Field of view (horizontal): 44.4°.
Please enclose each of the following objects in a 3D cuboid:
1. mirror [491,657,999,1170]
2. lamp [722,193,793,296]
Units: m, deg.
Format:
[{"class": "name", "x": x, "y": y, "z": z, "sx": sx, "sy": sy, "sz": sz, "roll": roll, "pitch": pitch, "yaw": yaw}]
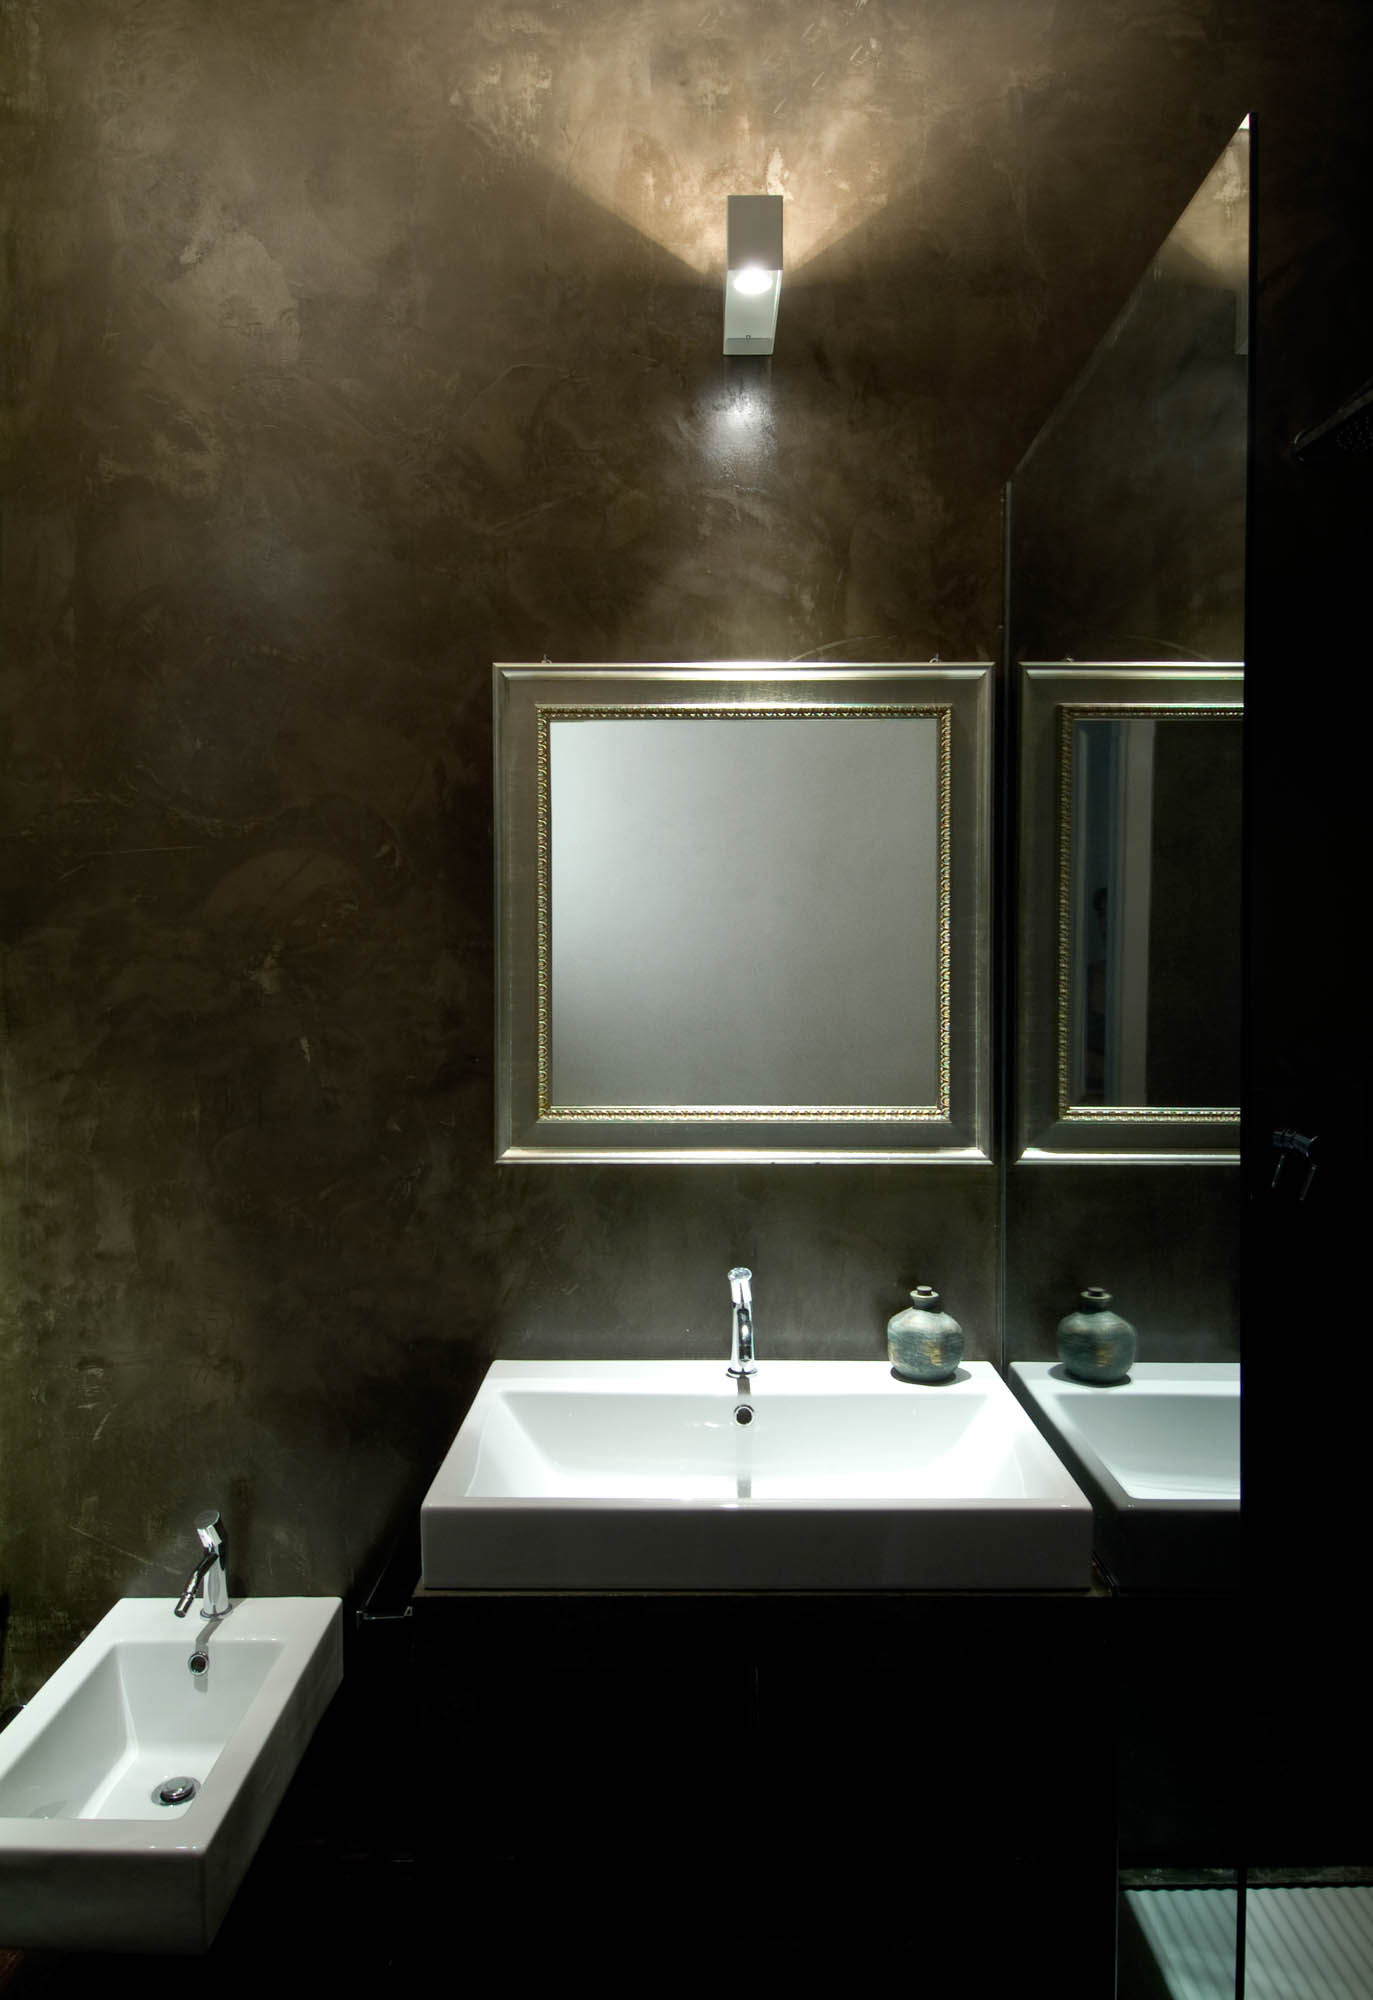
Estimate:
[{"class": "mirror", "x": 0.072, "y": -0.119, "z": 2.118, "sx": 0.403, "sy": 0.019, "sz": 0.634, "roll": 0, "pitch": -90, "yaw": 2}, {"class": "lamp", "x": 0.079, "y": -0.849, "z": 1.922, "sx": 0.073, "sy": 0.070, "sz": 0.166, "roll": 1, "pitch": -79, "yaw": 5}]
